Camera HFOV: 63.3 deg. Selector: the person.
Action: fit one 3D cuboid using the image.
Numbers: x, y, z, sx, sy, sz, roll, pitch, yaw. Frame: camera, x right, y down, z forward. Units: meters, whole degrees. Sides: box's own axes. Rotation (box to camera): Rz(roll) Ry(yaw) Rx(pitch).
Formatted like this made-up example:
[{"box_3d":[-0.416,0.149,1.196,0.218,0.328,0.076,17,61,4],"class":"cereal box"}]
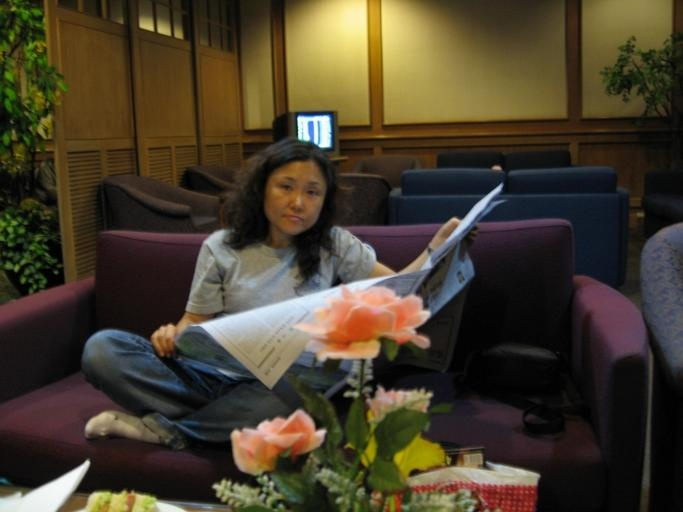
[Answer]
[{"box_3d":[-0.222,0.076,1.691,1.078,1.017,0.604,10,5,-10],"class":"person"}]
